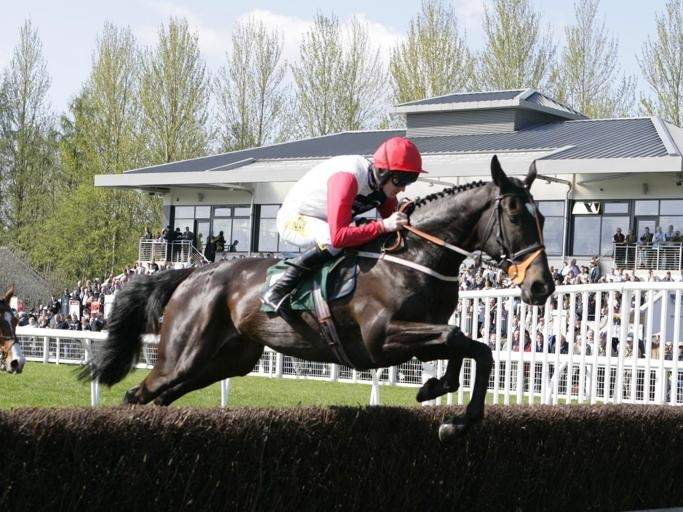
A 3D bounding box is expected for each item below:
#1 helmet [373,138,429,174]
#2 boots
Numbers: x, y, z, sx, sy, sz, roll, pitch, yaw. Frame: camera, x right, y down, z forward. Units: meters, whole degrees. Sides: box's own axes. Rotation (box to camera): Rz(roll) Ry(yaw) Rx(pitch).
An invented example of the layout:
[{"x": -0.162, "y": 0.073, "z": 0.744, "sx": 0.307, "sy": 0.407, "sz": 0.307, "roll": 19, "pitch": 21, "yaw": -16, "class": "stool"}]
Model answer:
[{"x": 0.640, "y": -1.120, "z": 14.992, "sx": 0.471, "sy": 0.283, "sz": 0.350, "roll": 5, "pitch": 11, "yaw": 13, "class": "helmet"}, {"x": -0.519, "y": 0.277, "z": 14.905, "sx": 0.840, "sy": 0.370, "sz": 0.208, "roll": -36, "pitch": 13, "yaw": 6, "class": "boots"}]
